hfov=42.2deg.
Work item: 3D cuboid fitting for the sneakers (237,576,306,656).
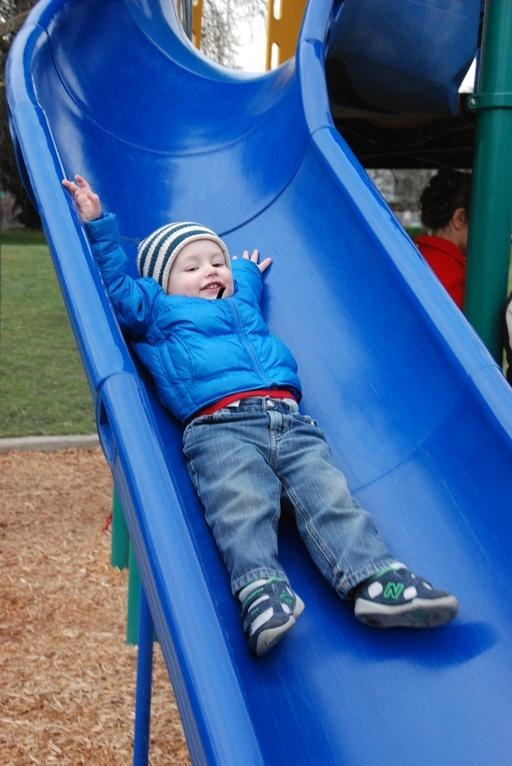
[{"bbox_3d":[0.024,0.408,1.241,0.075,0.078,0.163,22,15,0],"label":"sneakers"}]

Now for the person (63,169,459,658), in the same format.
[{"bbox_3d":[-0.032,0.089,1.739,0.712,0.577,1.246,6,35,-40],"label":"person"}]

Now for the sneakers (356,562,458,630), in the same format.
[{"bbox_3d":[0.272,0.403,1.232,0.191,0.100,0.131,3,38,1],"label":"sneakers"}]

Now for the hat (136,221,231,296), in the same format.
[{"bbox_3d":[-0.247,-0.377,2.108,0.208,0.188,0.256,-32,8,-35],"label":"hat"}]
